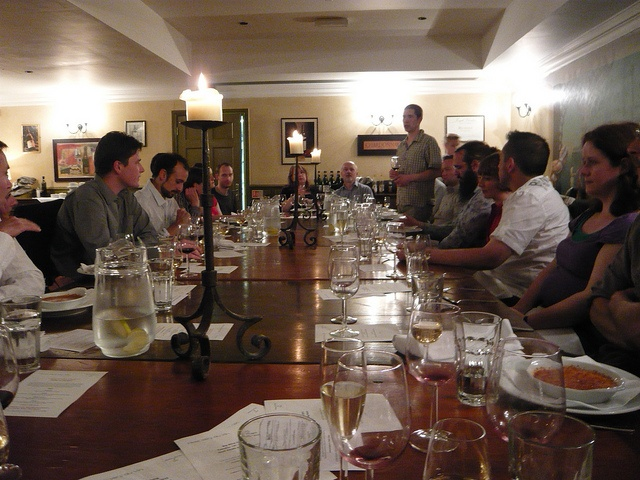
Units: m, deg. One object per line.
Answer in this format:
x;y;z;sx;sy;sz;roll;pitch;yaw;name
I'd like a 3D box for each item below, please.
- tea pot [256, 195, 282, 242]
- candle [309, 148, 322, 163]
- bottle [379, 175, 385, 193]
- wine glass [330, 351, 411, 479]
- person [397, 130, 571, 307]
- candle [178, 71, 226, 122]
-0.364;-0.165;3.829;0.209;0.305;0.296;0;3;2;tea pot
-0.065;-1.344;7.882;0.261;0.288;0.258;-2;10;-4;candle
1.068;-0.949;8.662;0.100;0.200;0.154;3;11;19;bottle
0.087;0.291;0.852;0.130;0.149;0.098;3;11;16;wine glass
1.058;-0.212;3.103;1.084;1.074;0.828;3;14;23;person
-0.336;-0.401;1.405;0.121;0.121;0.094;-7;18;-28;candle
